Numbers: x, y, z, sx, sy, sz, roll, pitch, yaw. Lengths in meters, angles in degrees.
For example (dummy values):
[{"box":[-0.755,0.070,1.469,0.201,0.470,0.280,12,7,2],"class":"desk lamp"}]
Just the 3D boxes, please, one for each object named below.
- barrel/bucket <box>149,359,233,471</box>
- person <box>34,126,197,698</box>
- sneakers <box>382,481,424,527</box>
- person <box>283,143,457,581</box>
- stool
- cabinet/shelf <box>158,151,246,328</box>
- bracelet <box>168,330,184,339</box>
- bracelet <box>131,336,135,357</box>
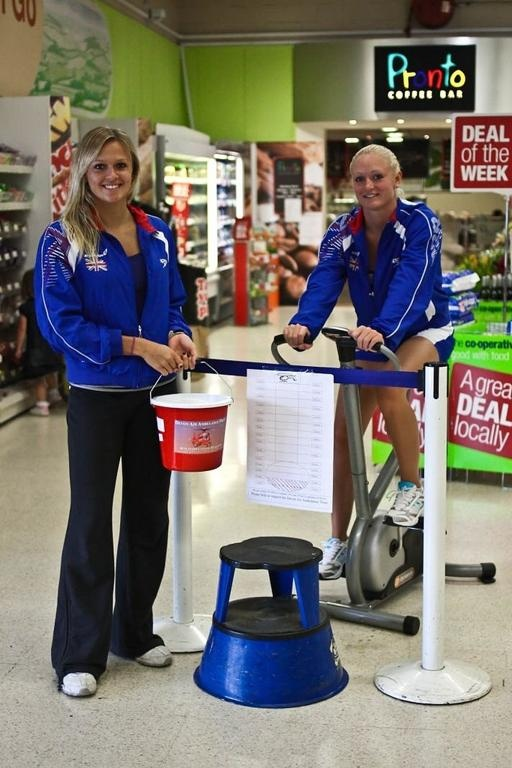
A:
[{"box":[-0.183,0.082,1.906,0.268,0.331,0.224,-1,4,-11],"class":"barrel/bucket"},{"box":[-0.407,0.083,2.004,0.459,1.590,0.428,-1,4,-19],"class":"person"},{"box":[0.516,0.417,2.384,0.122,0.138,0.196,1,4,11],"class":"sneakers"},{"box":[0.398,-0.049,2.509,0.617,1.677,0.866,1,4,15],"class":"person"},{"box":[0.043,0.562,1.962,0.294,0.199,0.316,0,2,13],"class":"stool"},{"box":[-0.951,-2.777,11.991,1.405,2.390,0.829,-6,14,3],"class":"cabinet/shelf"},{"box":[-0.246,-0.150,2.033,0.032,0.023,0.031,0,-1,2],"class":"bracelet"},{"box":[-0.331,-0.104,1.826,0.012,0.042,0.013,-1,4,-10],"class":"bracelet"}]
